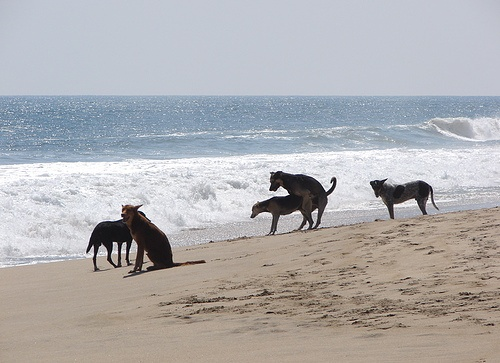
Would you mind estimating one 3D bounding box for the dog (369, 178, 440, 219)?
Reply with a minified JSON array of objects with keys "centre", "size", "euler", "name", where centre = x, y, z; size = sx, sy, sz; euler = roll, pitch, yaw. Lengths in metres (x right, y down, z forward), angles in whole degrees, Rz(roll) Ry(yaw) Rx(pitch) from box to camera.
[{"centre":[4.213,0.448,22.172],"size":[1.610,1.156,0.804],"euler":[-11,12,-12],"name":"dog"}]
